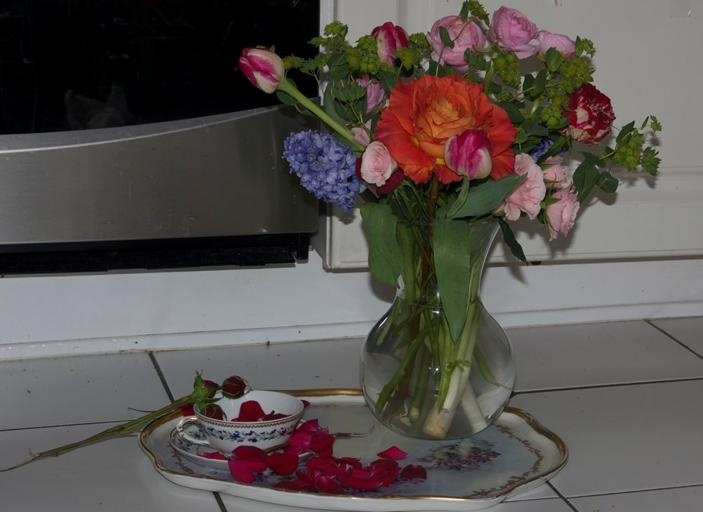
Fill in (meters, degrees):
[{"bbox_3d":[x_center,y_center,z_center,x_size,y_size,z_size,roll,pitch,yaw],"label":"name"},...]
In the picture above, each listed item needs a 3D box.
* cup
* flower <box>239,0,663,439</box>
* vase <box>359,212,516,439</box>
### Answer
[{"bbox_3d":[-0.135,0.215,0.831,0.105,0.048,0.093,-2,13,-12],"label":"cup"},{"bbox_3d":[0.101,-0.067,0.958,0.594,0.648,0.513,8,19,25],"label":"flower"},{"bbox_3d":[0.115,0.102,0.886,0.204,0.305,0.215,2,2,13],"label":"vase"}]
